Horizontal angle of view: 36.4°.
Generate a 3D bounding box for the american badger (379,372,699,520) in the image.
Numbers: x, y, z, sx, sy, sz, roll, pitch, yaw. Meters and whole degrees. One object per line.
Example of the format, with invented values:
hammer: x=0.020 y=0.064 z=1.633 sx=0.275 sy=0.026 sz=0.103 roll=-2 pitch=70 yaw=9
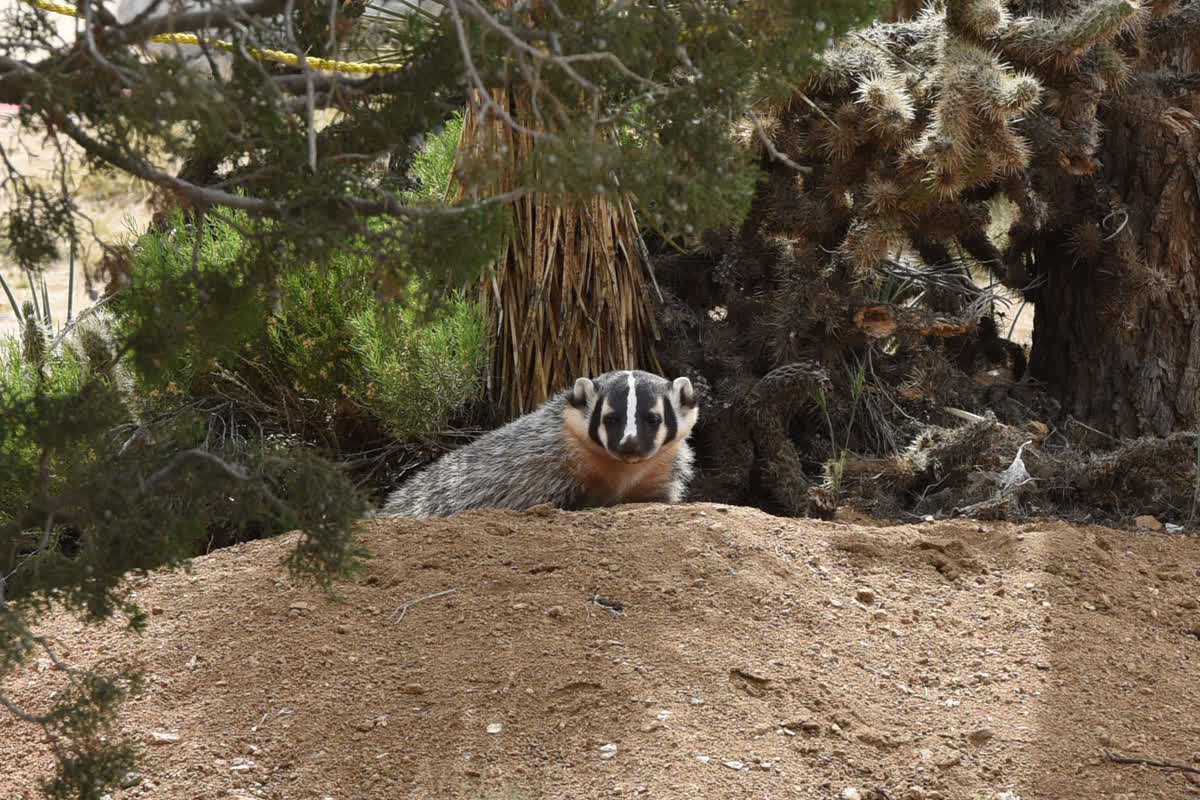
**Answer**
american badger: x=-0.285 y=0.303 z=9.162 sx=1.318 sy=0.523 sz=0.771 roll=-13 pitch=-7 yaw=31
